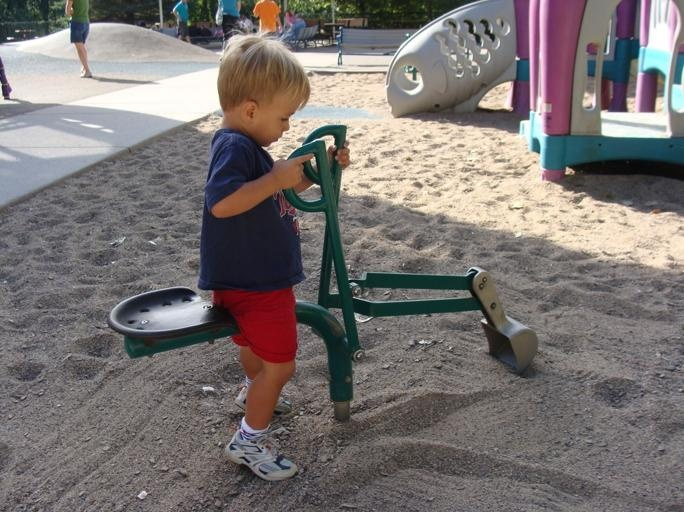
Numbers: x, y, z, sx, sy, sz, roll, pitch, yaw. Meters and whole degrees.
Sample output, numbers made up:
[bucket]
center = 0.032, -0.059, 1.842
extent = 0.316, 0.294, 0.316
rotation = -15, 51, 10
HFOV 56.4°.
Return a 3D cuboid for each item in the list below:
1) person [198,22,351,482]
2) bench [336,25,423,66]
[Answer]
[person]
center = -0.280, 0.010, 2.333
extent = 0.497, 1.562, 0.691
rotation = 1, 25, 6
[bench]
center = 0.606, -4.445, 13.450
extent = 1.507, 0.538, 0.502
rotation = -7, 8, -19
